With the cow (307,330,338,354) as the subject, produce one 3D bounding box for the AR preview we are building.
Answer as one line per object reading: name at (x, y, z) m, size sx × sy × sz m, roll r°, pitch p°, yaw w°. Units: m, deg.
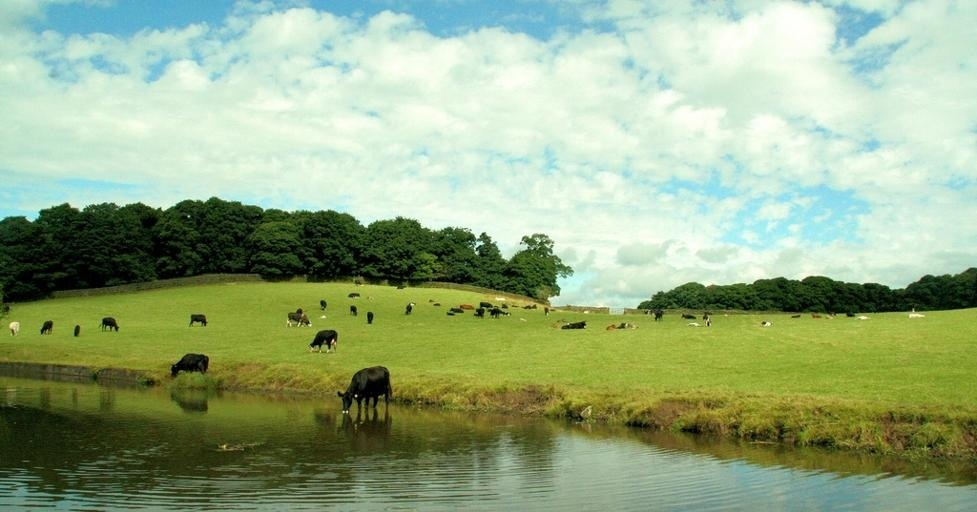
cow at (-17.744, 8.977, 72.313) m, size 2.870 × 2.027 × 2.688 m, roll 3°, pitch 10°, yaw 29°
